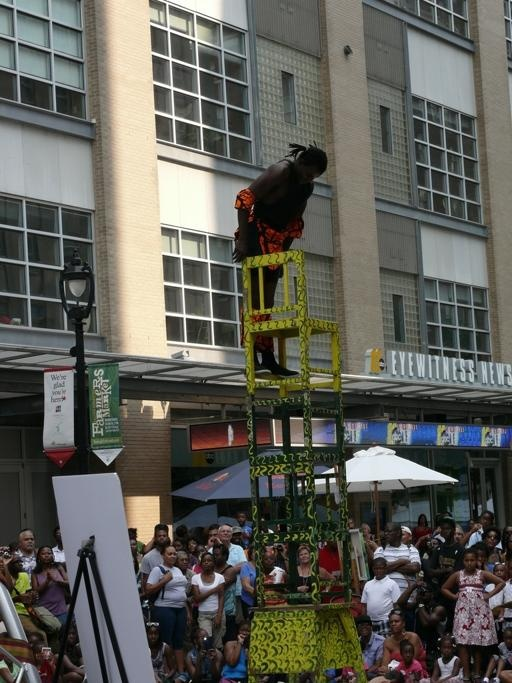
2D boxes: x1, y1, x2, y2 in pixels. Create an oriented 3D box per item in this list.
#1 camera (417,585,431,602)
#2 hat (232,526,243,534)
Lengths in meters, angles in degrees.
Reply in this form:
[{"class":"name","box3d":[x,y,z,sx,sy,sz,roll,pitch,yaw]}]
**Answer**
[{"class":"camera","box3d":[2.053,3.097,14.813,0.174,0.231,0.220,-1,-47,15]},{"class":"hat","box3d":[-0.260,2.740,17.564,0.191,0.084,0.246,0,-11,-1]}]
